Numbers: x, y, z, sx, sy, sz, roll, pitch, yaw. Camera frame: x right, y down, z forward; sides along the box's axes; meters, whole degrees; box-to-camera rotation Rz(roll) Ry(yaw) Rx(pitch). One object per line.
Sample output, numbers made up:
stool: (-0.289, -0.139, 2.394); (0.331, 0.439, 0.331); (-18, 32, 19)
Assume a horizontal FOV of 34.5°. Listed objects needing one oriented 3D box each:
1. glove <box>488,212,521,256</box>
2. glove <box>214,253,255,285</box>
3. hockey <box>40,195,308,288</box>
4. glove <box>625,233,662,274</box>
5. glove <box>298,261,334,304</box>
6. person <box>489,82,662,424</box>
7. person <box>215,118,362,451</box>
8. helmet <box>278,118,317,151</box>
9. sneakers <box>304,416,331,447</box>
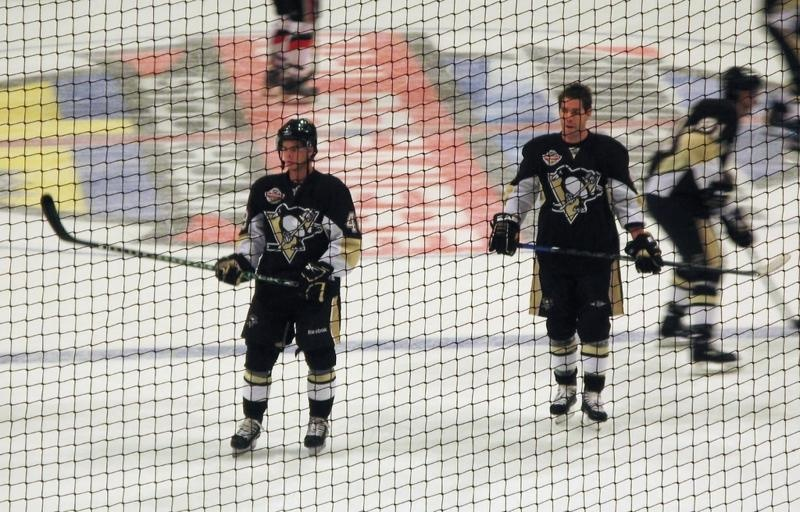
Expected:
glove: (0.888, -0.172, 10.799); (0.338, 0.443, 0.328); (2, -5, 11)
glove: (-1.345, 0.116, 10.437); (0.330, 0.236, 0.196); (-9, 13, -11)
hockey: (-2.155, -0.091, 12.102); (2.907, 0.511, 0.233); (12, -22, 1)
glove: (2.027, 0.000, 10.701); (0.298, 0.378, 0.188); (-5, 13, 10)
glove: (-0.677, 0.218, 10.380); (0.320, 0.297, 0.132); (4, 7, 14)
person: (1.483, -0.005, 10.733); (1.303, 2.780, 0.583); (-6, 13, 5)
person: (-0.899, 0.257, 10.500); (1.241, 2.633, 0.638); (-8, 13, -4)
helmet: (-0.887, -0.968, 10.460); (0.233, 0.262, 0.307); (9, 23, 35)
sneakers: (-0.691, 1.437, 10.503); (0.154, 0.137, 0.266); (3, 50, 4)
